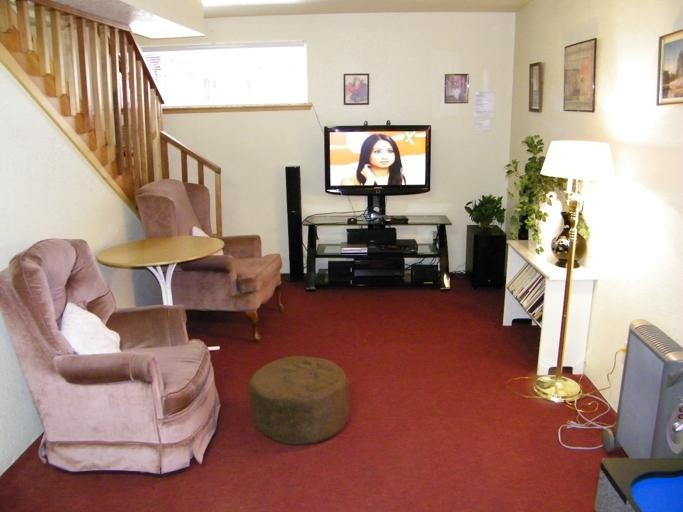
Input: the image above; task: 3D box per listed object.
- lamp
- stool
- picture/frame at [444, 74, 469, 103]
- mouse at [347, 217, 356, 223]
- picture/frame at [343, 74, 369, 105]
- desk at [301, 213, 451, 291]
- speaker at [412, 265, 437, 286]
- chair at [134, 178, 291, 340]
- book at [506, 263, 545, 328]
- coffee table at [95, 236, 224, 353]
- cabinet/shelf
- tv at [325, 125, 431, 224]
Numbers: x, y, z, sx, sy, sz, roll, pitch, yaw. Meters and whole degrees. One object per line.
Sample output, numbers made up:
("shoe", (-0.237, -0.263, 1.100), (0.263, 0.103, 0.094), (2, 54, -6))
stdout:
("lamp", (1.597, 0.066, 3.863), (0.438, 1.727, 0.792), (6, 17, 25))
("stool", (-0.228, 0.886, 3.434), (0.481, 0.255, 0.484), (-15, 25, -35))
("picture/frame", (1.218, -1.796, 5.816), (0.252, 0.313, 0.041), (-1, 22, 5))
("mouse", (0.112, -0.381, 5.873), (0.069, 0.050, 0.067), (2, 16, 5))
("picture/frame", (0.149, -1.795, 5.841), (0.269, 0.324, 0.015), (1, 20, 5))
("desk", (0.366, -0.075, 5.924), (1.559, 0.733, 0.635), (-1, 16, 3))
("speaker", (0.871, 0.202, 5.753), (0.323, 0.261, 0.183), (2, 12, 7))
("chair", (-1.212, -0.102, 5.314), (1.322, 1.642, 1.230), (2, 15, 2))
("book", (1.499, 0.298, 4.478), (0.153, 0.296, 0.456), (7, 20, 0))
("coffee table", (-1.387, 0.333, 4.408), (0.858, 0.953, 0.902), (7, 23, 14))
("cabinet/shelf", (1.593, 0.395, 4.154), (0.299, 0.714, 0.810), (2, 19, 3))
("tv", (0.389, -0.910, 5.855), (0.950, 0.983, 0.225), (0, 11, -1))
